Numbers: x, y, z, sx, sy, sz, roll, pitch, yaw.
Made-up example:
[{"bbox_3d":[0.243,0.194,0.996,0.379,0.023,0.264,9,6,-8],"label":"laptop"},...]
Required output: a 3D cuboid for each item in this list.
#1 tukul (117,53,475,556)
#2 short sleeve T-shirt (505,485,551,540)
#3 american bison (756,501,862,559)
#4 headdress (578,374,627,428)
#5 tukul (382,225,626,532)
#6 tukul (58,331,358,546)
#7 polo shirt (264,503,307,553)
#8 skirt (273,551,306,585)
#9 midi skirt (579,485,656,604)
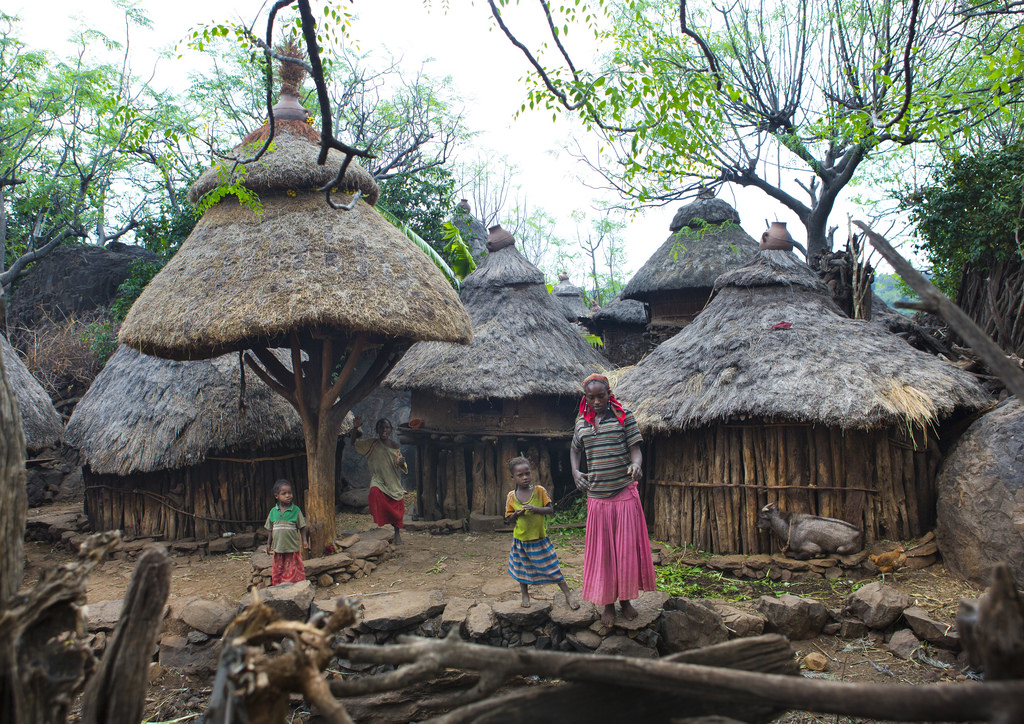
[{"bbox_3d":[-2.914,-1.065,11.010,4.058,7.137,2.164,0,-16,-13],"label":"tukul"},{"bbox_3d":[0.153,1.664,8.831,0.455,0.593,0.294,-3,-16,-2],"label":"short sleeve T-shirt"},{"bbox_3d":[3.779,2.152,10.232,1.284,0.590,0.517,-1,10,27],"label":"american bison"},{"bbox_3d":[0.912,0.389,8.318,0.419,0.529,0.296,-16,-11,23],"label":"headdress"},{"bbox_3d":[-0.403,0.497,15.383,4.470,5.279,4.255,-1,-6,-2],"label":"tukul"},{"bbox_3d":[-4.882,1.351,13.215,3.054,2.407,3.235,-4,-8,35],"label":"tukul"},{"bbox_3d":[-2.849,2.074,10.023,0.444,0.589,0.292,1,-16,-15],"label":"polo shirt"},{"bbox_3d":[-2.795,2.545,9.928,0.363,0.430,0.245,4,-17,-26],"label":"skirt"},{"bbox_3d":[1.048,1.665,8.120,0.645,1.502,0.492,-9,17,-7],"label":"midi skirt"}]
